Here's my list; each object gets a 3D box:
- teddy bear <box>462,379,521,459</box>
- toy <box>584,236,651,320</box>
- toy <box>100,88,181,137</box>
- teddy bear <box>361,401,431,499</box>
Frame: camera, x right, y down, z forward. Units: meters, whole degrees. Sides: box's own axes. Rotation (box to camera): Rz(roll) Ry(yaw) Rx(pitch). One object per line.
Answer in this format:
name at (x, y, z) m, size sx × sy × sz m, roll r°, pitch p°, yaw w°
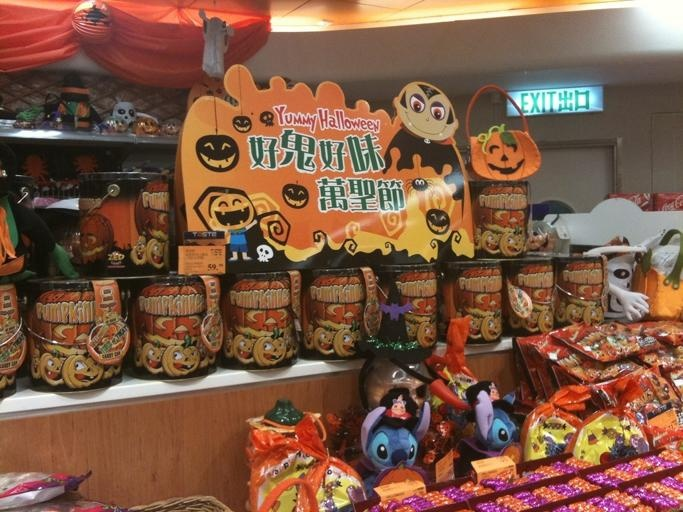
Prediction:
teddy bear at (0.457, 0.509, 1.832) m, size 0.155 × 0.238 × 0.253 m, roll 0°, pitch -6°, yaw 33°
toy at (1.117, 0.103, 2.401) m, size 0.268 × 0.346 × 0.244 m, roll -3°, pitch -10°, yaw 23°
toy at (-1.410, -0.986, 4.183) m, size 0.442 × 0.287 × 0.597 m, roll 3°, pitch -2°, yaw -27°
teddy bear at (0.144, 0.579, 1.738) m, size 0.189 × 0.330 × 0.177 m, roll 3°, pitch -1°, yaw -7°
